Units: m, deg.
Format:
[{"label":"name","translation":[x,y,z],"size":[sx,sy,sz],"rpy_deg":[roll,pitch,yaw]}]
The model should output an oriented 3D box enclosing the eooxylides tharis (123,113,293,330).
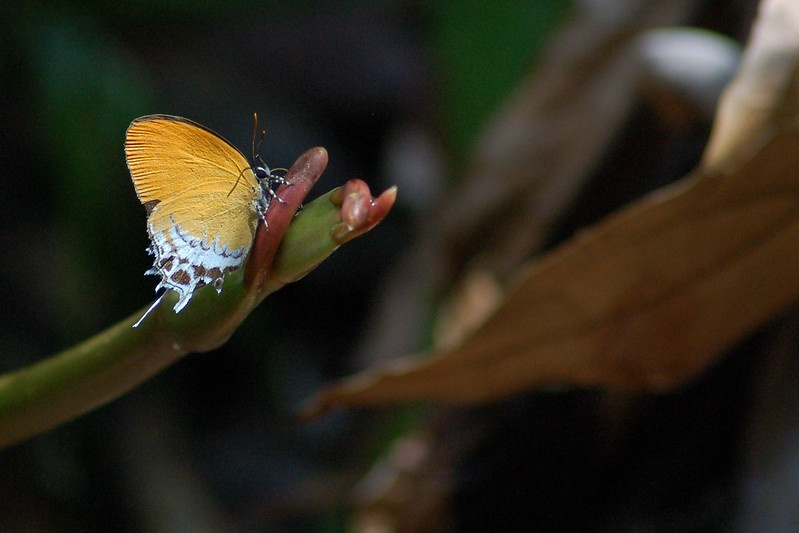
[{"label":"eooxylides tharis","translation":[-0.120,-0.026,0.498],"size":[0.096,0.128,0.099],"rpy_deg":[7,14,-13]}]
